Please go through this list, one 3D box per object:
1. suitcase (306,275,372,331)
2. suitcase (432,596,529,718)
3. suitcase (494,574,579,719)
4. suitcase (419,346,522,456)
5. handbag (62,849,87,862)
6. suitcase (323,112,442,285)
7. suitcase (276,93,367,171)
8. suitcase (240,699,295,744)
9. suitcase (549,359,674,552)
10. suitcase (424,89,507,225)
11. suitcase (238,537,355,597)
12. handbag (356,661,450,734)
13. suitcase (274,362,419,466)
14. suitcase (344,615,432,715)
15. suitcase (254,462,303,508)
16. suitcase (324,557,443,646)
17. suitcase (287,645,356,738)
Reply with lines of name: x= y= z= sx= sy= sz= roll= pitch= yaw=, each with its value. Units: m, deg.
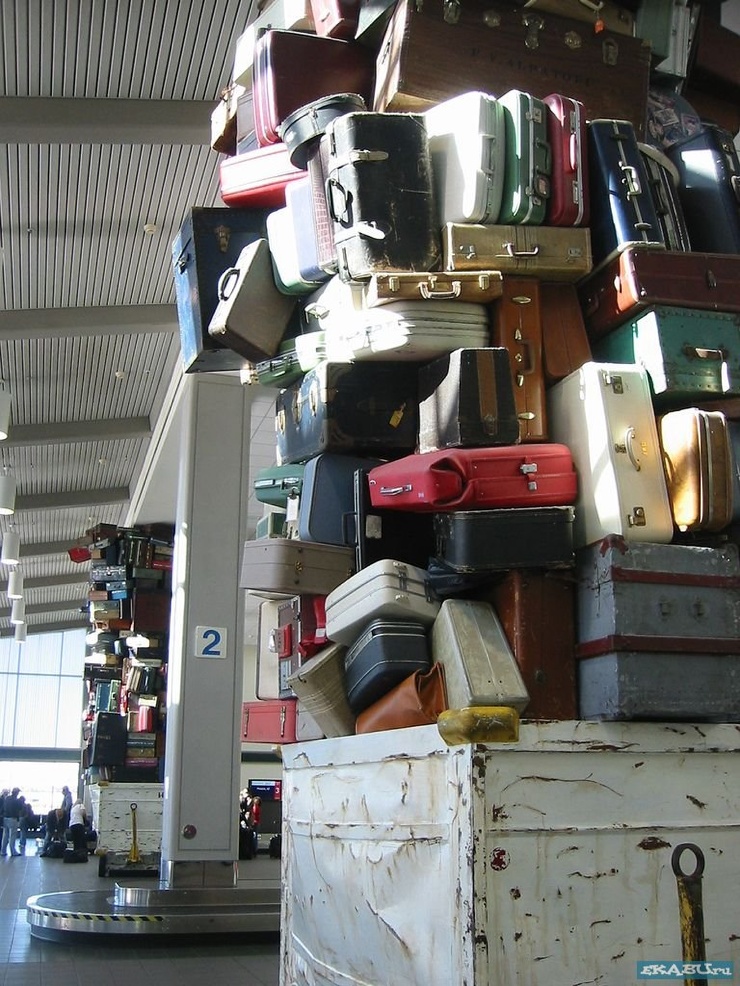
suitcase: x=-0.112 y=-0.630 z=2.992 sx=0.207 sy=0.165 sz=0.294 roll=-11 pitch=6 yaw=-21
suitcase: x=0.283 y=0.418 z=2.419 sx=0.204 sy=0.309 sz=0.399 roll=-2 pitch=-13 yaw=-3
suitcase: x=0.444 y=0.420 z=2.439 sx=0.134 sy=0.365 sz=0.226 roll=0 pitch=-29 yaw=-10
suitcase: x=0.295 y=-0.274 z=2.816 sx=0.257 sy=0.340 sz=0.450 roll=-2 pitch=2 yaw=-10
handbag: x=-5.143 y=6.292 z=15.871 sx=0.333 sy=0.082 sz=0.333 roll=4 pitch=-2 yaw=-12
suitcase: x=0.036 y=-0.891 z=2.704 sx=0.310 sy=0.528 sz=0.138 roll=-2 pitch=-13 yaw=-1
suitcase: x=-0.174 y=-1.176 z=2.985 sx=0.243 sy=0.089 sz=0.246 roll=-34 pitch=-11 yaw=34
suitcase: x=-0.426 y=0.931 z=3.738 sx=0.154 sy=0.173 sz=0.476 roll=2 pitch=-14 yaw=-18
suitcase: x=0.690 y=-0.094 z=2.592 sx=0.167 sy=0.529 sz=0.375 roll=2 pitch=-24 yaw=-15
suitcase: x=0.290 y=-1.001 z=2.759 sx=0.104 sy=0.327 sz=0.324 roll=-4 pitch=31 yaw=-11
suitcase: x=-0.296 y=0.269 z=3.145 sx=0.300 sy=0.138 sz=0.217 roll=11 pitch=-22 yaw=-35
handbag: x=0.086 y=0.587 z=2.492 sx=0.238 sy=0.072 sz=0.179 roll=-41 pitch=-21 yaw=33
suitcase: x=-0.055 y=-0.278 z=3.130 sx=0.298 sy=0.217 sz=0.467 roll=0 pitch=0 yaw=-16
suitcase: x=0.036 y=0.516 z=2.680 sx=0.285 sy=0.234 sz=0.396 roll=-12 pitch=-26 yaw=-10
suitcase: x=-0.359 y=-0.031 z=3.543 sx=0.144 sy=0.096 sz=0.193 roll=-8 pitch=-6 yaw=6
suitcase: x=0.050 y=0.321 z=2.680 sx=0.369 sy=0.202 sz=0.551 roll=2 pitch=-17 yaw=-16
suitcase: x=-0.163 y=0.623 z=2.876 sx=0.199 sy=0.275 sz=0.171 roll=5 pitch=-15 yaw=-29
